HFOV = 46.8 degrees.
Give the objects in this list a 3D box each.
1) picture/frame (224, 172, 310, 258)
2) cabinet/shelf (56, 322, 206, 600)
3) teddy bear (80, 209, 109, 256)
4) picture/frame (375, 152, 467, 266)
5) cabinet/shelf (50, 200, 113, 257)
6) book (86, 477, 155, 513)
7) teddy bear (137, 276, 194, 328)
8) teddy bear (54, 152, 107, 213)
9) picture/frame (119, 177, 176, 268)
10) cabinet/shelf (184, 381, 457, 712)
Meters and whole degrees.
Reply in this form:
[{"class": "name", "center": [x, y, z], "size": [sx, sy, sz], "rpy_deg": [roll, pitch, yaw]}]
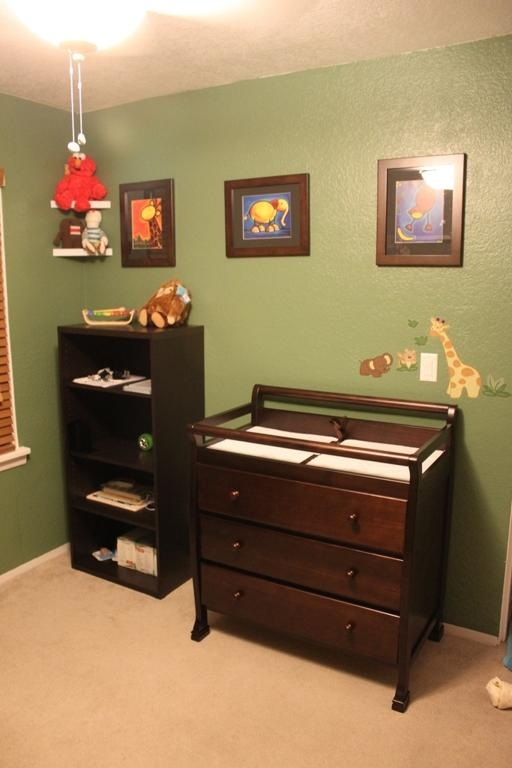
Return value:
[{"class": "picture/frame", "center": [0.058, -0.706, 2.435], "size": [0.359, 0.315, 0.029], "rpy_deg": [7, 17, 34]}, {"class": "cabinet/shelf", "center": [-0.565, 0.316, 2.806], "size": [0.673, 1.185, 0.404], "rpy_deg": [6, 10, 36]}, {"class": "teddy bear", "center": [-0.814, -0.758, 2.956], "size": [0.140, 0.227, 0.152], "rpy_deg": [-1, 8, -4]}, {"class": "picture/frame", "center": [0.587, -0.659, 2.107], "size": [0.285, 0.359, 0.025], "rpy_deg": [3, -31, -3]}, {"class": "cabinet/shelf", "center": [-0.870, -0.770, 2.917], "size": [0.274, 0.270, 0.089], "rpy_deg": [-2, 2, -24]}, {"class": "book", "center": [-0.655, 0.542, 2.860], "size": [0.221, 0.049, 0.159], "rpy_deg": [5, 6, 33]}, {"class": "teddy bear", "center": [-0.427, -0.364, 2.676], "size": [0.214, 0.211, 0.161], "rpy_deg": [5, 9, 32]}, {"class": "teddy bear", "center": [-0.862, -0.986, 2.872], "size": [0.248, 0.276, 0.142], "rpy_deg": [-5, 33, -24]}, {"class": "picture/frame", "center": [-0.505, -0.782, 2.795], "size": [0.393, 0.460, 0.020], "rpy_deg": [9, 15, 35]}, {"class": "cabinet/shelf", "center": [0.235, 0.539, 2.181], "size": [0.889, 0.947, 0.603], "rpy_deg": [5, 8, 23]}]
